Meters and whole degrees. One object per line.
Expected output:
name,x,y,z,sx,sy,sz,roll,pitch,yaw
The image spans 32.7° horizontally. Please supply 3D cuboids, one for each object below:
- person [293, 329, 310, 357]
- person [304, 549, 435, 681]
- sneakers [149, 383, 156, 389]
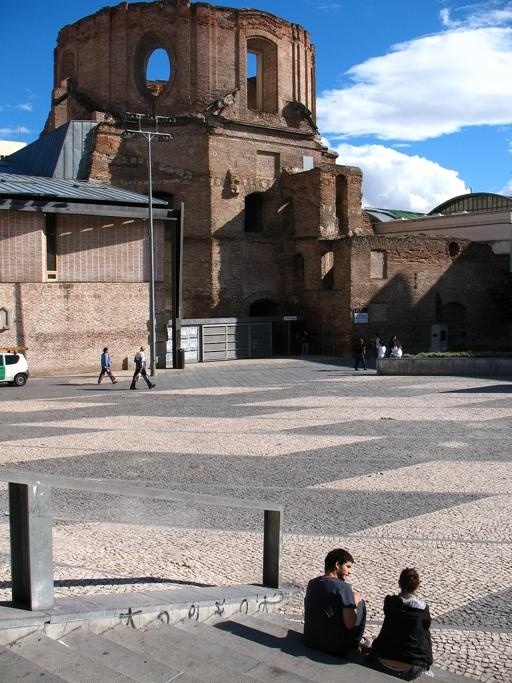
person,2.436,-0.006,44.063,0.671,1.281,1.572,0,-2,2
person,0.869,1.993,6.319,1.007,0.610,0.743,4,-1,21
sneakers,-3.204,1.364,27.181,0.072,0.142,0.197,-11,37,29
